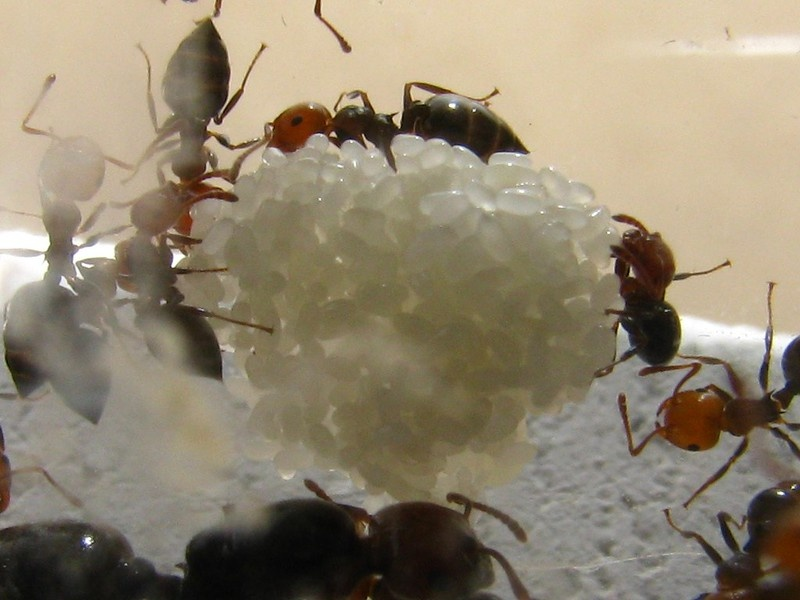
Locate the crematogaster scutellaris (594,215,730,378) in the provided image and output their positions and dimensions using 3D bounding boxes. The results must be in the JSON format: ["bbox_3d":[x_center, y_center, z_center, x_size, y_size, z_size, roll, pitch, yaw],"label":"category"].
[{"bbox_3d":[0.280,-0.004,1.159,0.139,0.147,0.043,-7,5,-30],"label":"crematogaster scutellaris"}]

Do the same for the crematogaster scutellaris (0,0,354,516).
[{"bbox_3d":[-0.309,-0.059,1.249,0.305,0.439,0.373,0,33,-10],"label":"crematogaster scutellaris"}]
